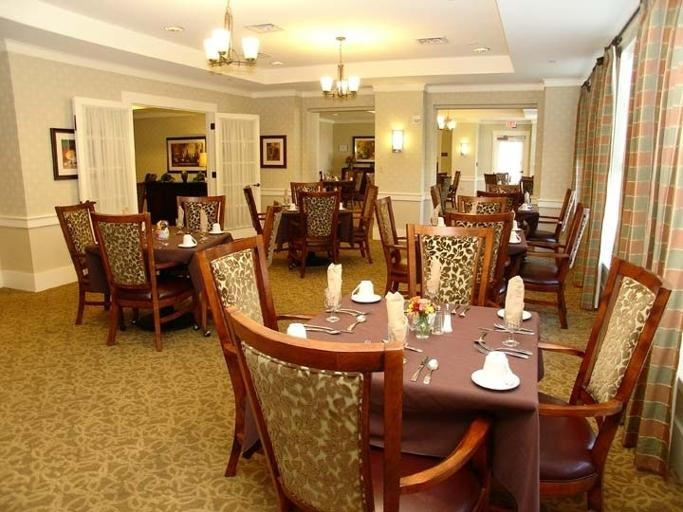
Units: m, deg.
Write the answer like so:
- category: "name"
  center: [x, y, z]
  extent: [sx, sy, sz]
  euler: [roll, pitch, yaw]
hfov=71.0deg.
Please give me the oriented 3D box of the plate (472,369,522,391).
- category: "plate"
  center: [0.685, 0.545, 2.125]
  extent: [0.210, 0.061, 0.135]
  euler: [1, 12, 3]

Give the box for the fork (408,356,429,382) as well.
- category: "fork"
  center: [0.359, 0.527, 2.214]
  extent: [0.036, 0.020, 0.254]
  euler: [-4, 14, 25]

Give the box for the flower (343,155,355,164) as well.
- category: "flower"
  center: [0.314, -3.564, 17.636]
  extent: [0.333, 0.198, 0.343]
  euler: [5, 14, 19]

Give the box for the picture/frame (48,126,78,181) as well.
- category: "picture/frame"
  center: [-3.787, -1.416, 6.488]
  extent: [0.055, 0.751, 0.664]
  euler: [5, 12, 22]

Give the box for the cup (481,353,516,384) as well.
- category: "cup"
  center: [0.697, 0.483, 2.180]
  extent: [0.096, 0.119, 0.162]
  euler: [-5, 21, -19]

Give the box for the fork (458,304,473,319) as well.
- category: "fork"
  center: [0.740, 0.335, 2.899]
  extent: [0.035, 0.020, 0.199]
  euler: [5, 12, 20]

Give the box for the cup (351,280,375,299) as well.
- category: "cup"
  center: [0.138, 0.219, 3.117]
  extent: [0.142, 0.132, 0.085]
  euler: [-3, 10, -7]

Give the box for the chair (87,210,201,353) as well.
- category: "chair"
  center: [-1.862, 0.198, 4.634]
  extent: [0.730, 1.281, 0.881]
  euler: [3, 11, 8]

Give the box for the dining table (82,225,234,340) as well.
- category: "dining table"
  center: [-1.586, 0.051, 5.001]
  extent: [1.089, 0.864, 1.084]
  euler: [8, 25, 15]

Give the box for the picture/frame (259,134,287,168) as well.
- category: "picture/frame"
  center: [-1.469, -2.296, 10.328]
  extent: [0.750, 0.904, 0.058]
  euler: [6, 9, 21]

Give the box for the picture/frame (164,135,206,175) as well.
- category: "picture/frame"
  center: [-4.236, -2.822, 13.091]
  extent: [1.545, 1.163, 0.068]
  euler: [5, 11, 17]

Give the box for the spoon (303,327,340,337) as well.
- category: "spoon"
  center: [-0.103, 0.398, 2.582]
  extent: [0.211, 0.023, 0.079]
  euler: [3, 12, 15]

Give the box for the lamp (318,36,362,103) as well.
- category: "lamp"
  center: [-0.010, -2.910, 7.361]
  extent: [0.573, 0.964, 0.614]
  euler: [-2, 12, -7]

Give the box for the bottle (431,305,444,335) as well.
- category: "bottle"
  center: [0.531, 0.355, 2.641]
  extent: [0.061, 0.116, 0.135]
  euler: [2, 12, 11]

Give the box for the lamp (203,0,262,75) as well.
- category: "lamp"
  center: [-1.322, -2.595, 5.907]
  extent: [0.629, 0.789, 2.624]
  euler: [-3, 12, -13]

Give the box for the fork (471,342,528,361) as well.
- category: "fork"
  center: [0.763, 0.460, 2.421]
  extent: [0.334, 0.064, 0.082]
  euler: [4, 16, 42]

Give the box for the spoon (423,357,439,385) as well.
- category: "spoon"
  center: [0.402, 0.525, 2.204]
  extent: [0.039, 0.027, 0.186]
  euler: [2, 17, 14]

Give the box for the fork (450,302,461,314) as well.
- category: "fork"
  center: [0.717, 0.325, 2.999]
  extent: [0.030, 0.031, 0.219]
  euler: [1, 4, 22]
